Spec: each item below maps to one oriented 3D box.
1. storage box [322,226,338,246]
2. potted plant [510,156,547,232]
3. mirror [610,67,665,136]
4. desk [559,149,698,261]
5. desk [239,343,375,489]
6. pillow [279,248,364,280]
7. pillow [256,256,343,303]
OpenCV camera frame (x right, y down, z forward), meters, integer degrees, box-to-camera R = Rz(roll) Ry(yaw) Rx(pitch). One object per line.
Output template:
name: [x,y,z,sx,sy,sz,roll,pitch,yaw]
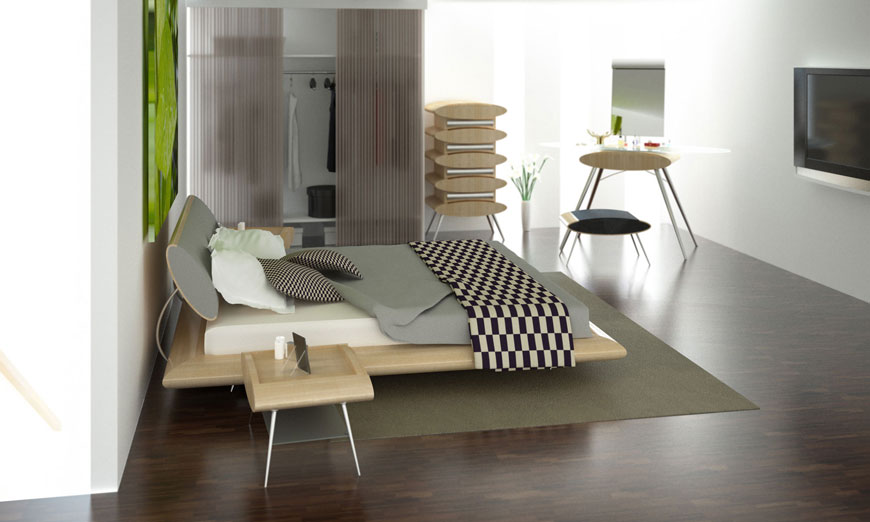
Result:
storage box: [-1.321,-0.305,7.670,0.237,0.270,0.225,0,5,-6]
potted plant: [1.276,-0.889,8.229,0.590,0.966,0.749,-5,-1,20]
mirror: [2.863,-2.230,8.442,0.028,0.954,0.799,-29,31,-34]
desk: [2.358,-0.766,7.160,1.394,1.136,1.818,11,20,41]
desk: [-0.752,0.841,3.472,0.716,0.598,0.762,-2,7,-20]
pillow: [-0.817,-0.003,4.454,0.301,0.119,0.403,22,6,1]
pillow: [-0.882,0.160,4.077,0.384,0.098,0.332,19,14,-30]
